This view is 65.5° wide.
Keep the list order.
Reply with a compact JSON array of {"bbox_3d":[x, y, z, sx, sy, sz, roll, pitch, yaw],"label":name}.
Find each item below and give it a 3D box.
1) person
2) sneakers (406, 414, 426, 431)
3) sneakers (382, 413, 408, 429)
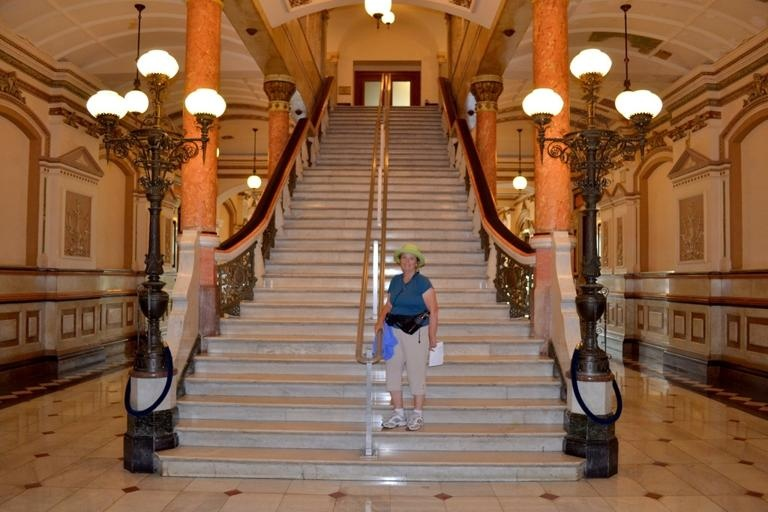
[{"bbox_3d":[0.261,0.936,6.988,0.693,2.091,0.459,1,6,3],"label":"person"},{"bbox_3d":[0.359,1.916,6.918,0.133,0.096,0.232,-3,-8,12],"label":"sneakers"},{"bbox_3d":[0.126,1.912,6.995,0.267,0.123,0.157,4,-7,-39],"label":"sneakers"}]
